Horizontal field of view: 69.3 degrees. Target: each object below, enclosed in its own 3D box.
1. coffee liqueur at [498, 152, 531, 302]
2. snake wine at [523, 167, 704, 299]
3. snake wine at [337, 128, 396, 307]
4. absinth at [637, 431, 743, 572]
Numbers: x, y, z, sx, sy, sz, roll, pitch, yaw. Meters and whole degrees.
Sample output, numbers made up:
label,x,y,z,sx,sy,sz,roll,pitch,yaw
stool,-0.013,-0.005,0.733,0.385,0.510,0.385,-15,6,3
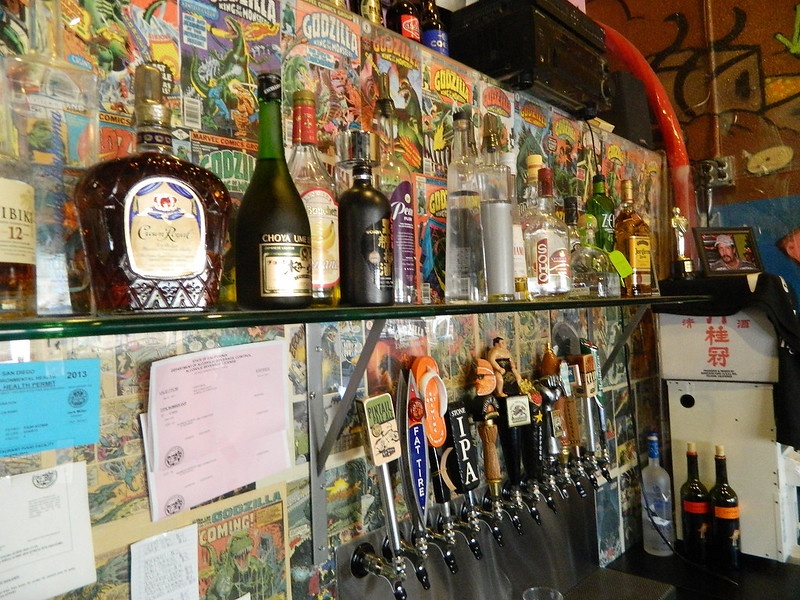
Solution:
label,x,y,z,sx,sy,sz,roll,pitch,yaw
coffee liqueur,0.277,-0.156,1.429,0.095,0.402,0.092,8,10,35
snake wine,0.708,-0.250,1.933,0.476,0.410,0.283,10,13,37
snake wine,-0.068,-0.149,1.072,0.099,0.309,0.103,-2,7,2
absinth,1.069,0.746,2.098,0.399,0.562,0.142,-3,-13,30
